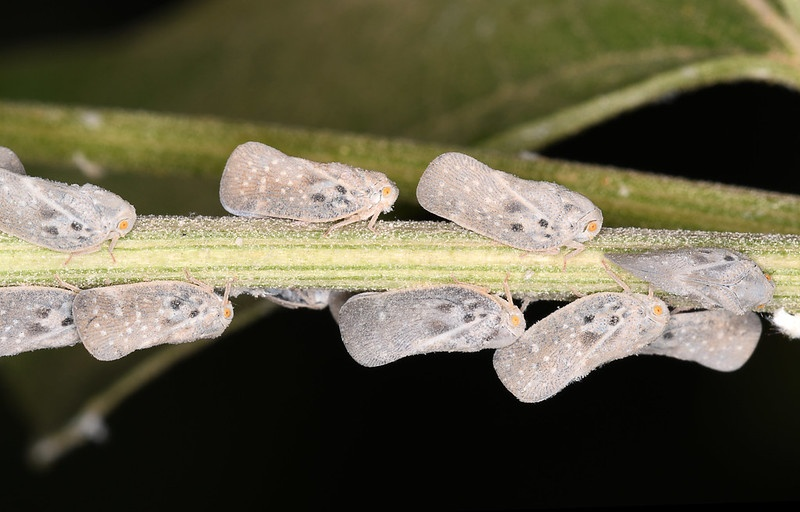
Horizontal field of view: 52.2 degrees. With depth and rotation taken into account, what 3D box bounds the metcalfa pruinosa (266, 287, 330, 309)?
[{"bbox_3d":[-0.675,0.288,5.550,0.259,0.197,0.096,10,77,-4],"label":"metcalfa pruinosa"}]
